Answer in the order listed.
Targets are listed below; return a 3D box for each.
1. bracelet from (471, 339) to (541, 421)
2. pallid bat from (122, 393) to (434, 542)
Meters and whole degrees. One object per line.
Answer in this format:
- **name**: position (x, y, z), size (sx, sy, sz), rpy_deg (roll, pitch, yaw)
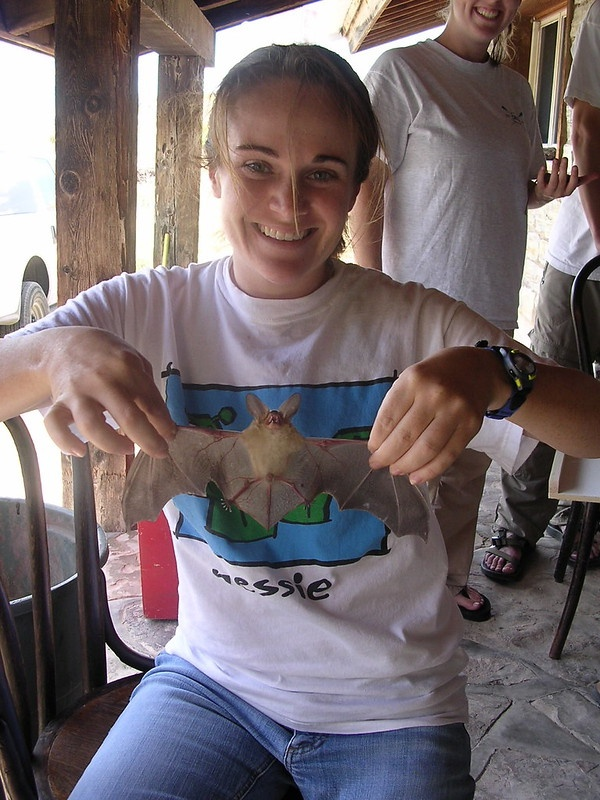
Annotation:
- **bracelet**: position (0.339, -0.025, 1.077), size (0.107, 0.106, 0.071), rpy_deg (30, 28, -19)
- **pallid bat**: position (-0.046, 0.069, 1.120), size (0.579, 0.244, 0.166), rpy_deg (4, 17, 4)
